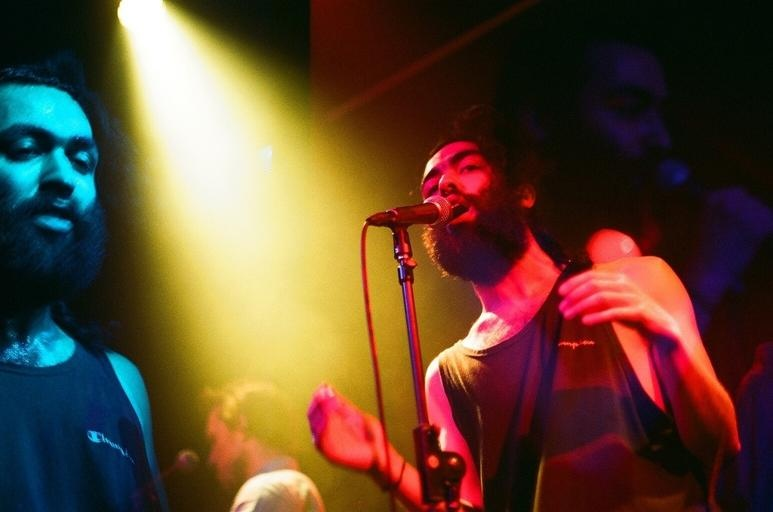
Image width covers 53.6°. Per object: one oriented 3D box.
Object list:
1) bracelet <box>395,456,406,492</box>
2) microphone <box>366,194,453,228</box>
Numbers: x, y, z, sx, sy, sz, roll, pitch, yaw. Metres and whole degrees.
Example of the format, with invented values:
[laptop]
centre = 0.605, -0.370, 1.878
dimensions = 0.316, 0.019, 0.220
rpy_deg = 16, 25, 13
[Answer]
[bracelet]
centre = 0.067, 1.089, 3.790
dimensions = 0.027, 0.112, 0.118
rpy_deg = 5, -13, -10
[microphone]
centre = 0.072, -0.184, 3.383
dimensions = 0.468, 0.139, 0.137
rpy_deg = -8, 3, -31
